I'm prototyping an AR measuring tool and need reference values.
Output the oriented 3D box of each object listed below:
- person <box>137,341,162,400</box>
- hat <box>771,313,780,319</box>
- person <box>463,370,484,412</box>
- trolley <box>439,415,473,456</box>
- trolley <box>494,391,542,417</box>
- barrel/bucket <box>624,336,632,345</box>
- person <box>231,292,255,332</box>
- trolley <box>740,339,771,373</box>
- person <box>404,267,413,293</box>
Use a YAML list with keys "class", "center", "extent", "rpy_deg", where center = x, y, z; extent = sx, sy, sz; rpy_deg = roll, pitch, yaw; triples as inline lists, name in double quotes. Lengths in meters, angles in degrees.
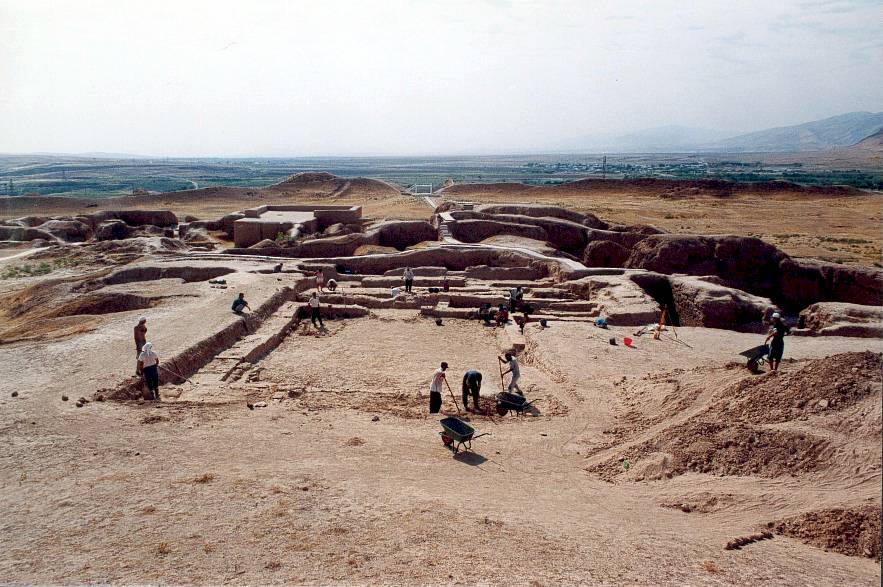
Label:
- class: "person"
  center: [-6.876, 1.798, 13.990]
  extent: [0.468, 1.342, 0.902]
  rpy_deg: [-17, 20, -25]
- class: "hat"
  center: [8.080, 0.540, 14.394]
  extent: [0.279, 0.060, 0.268]
  rpy_deg: [5, 14, 31]
- class: "person"
  center: [0.719, 2.304, 14.536]
  extent: [0.527, 0.963, 0.783]
  rpy_deg: [-7, 16, 2]
- class: "trolley"
  center: [0.308, 2.949, 12.311]
  extent: [0.575, 0.486, 0.991]
  rpy_deg: [-8, 23, -40]
- class: "trolley"
  center: [1.844, 2.708, 14.340]
  extent: [0.988, 0.273, 0.583]
  rpy_deg: [2, 1, 2]
- class: "barrel/bucket"
  center: [5.647, 1.453, 18.034]
  extent: [0.262, 0.239, 0.199]
  rpy_deg: [-10, 20, 21]
- class: "person"
  center: [-6.401, 0.650, 19.146]
  extent: [0.605, 1.099, 1.245]
  rpy_deg: [-13, 16, -17]
- class: "trolley"
  center: [7.489, 1.468, 14.043]
  extent: [1.238, 0.515, 0.605]
  rpy_deg: [-14, 14, -41]
- class: "person"
  center: [-1.380, -0.526, 24.053]
  extent: [0.386, 0.995, 0.811]
  rpy_deg: [-10, 16, -7]
